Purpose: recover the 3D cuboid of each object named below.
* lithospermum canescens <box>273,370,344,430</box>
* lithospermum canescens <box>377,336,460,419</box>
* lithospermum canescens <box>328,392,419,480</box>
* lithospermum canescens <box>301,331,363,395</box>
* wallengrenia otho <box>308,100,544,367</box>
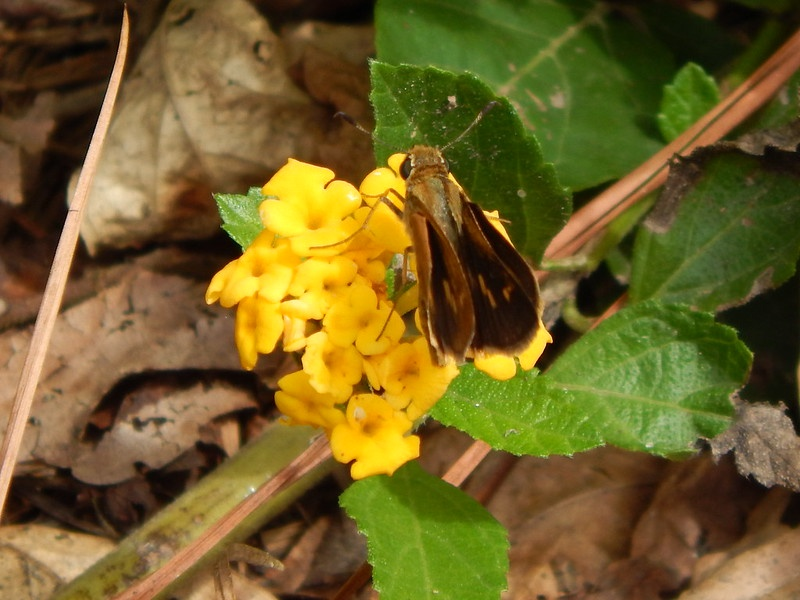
[{"bbox_3d":[-0.299,0.351,2.685,0.172,0.241,0.164,-19,38,-36],"label":"lithospermum canescens"},{"bbox_3d":[0.055,0.273,2.745,0.250,0.138,0.261,-31,99,-4],"label":"lithospermum canescens"},{"bbox_3d":[-0.066,0.483,2.728,0.352,0.280,0.232,5,50,-23],"label":"lithospermum canescens"},{"bbox_3d":[-0.220,0.209,2.623,0.201,0.077,0.196,-27,102,-33],"label":"lithospermum canescens"},{"bbox_3d":[0.059,-0.116,2.900,0.594,0.890,1.037,0,90,-12],"label":"wallengrenia otho"}]
